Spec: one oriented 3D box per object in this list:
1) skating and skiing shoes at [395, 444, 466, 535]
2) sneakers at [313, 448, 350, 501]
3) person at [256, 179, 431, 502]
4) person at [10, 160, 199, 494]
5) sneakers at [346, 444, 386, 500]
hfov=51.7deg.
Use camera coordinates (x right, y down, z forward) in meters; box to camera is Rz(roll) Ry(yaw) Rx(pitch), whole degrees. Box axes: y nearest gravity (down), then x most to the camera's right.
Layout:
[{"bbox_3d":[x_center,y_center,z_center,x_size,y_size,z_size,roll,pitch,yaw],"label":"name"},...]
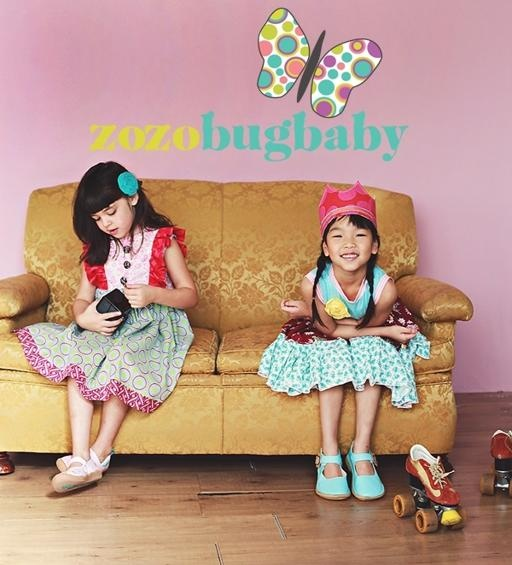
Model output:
[{"bbox_3d":[0.422,0.510,1.358,0.138,0.170,0.243,0,4,-9],"label":"skating and skiing shoes"},{"bbox_3d":[0.200,0.533,1.476,0.103,0.105,0.093,-1,8,-6],"label":"sneakers"},{"bbox_3d":[0.264,0.152,1.636,0.483,0.863,0.523,0,4,1],"label":"person"},{"bbox_3d":[-0.396,0.076,1.690,0.664,0.910,0.546,-3,10,-18],"label":"person"},{"bbox_3d":[0.310,0.531,1.485,0.103,0.109,0.140,1,4,6],"label":"sneakers"}]
